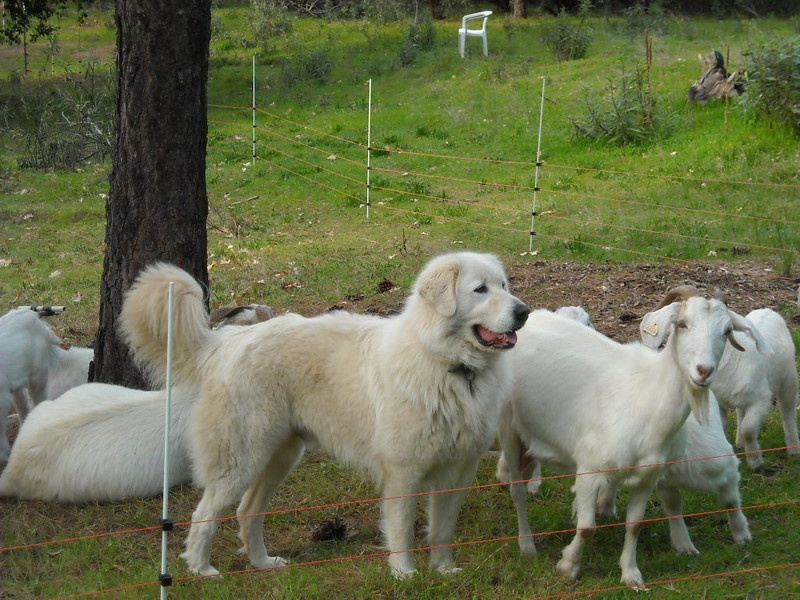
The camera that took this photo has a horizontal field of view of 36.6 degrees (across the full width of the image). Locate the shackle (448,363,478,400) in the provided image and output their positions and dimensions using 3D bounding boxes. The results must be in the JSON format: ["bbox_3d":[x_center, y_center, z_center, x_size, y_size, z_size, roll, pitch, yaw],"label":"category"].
[{"bbox_3d":[0.757,0.911,13.931,0.200,0.404,0.234,-34,7,-21],"label":"shackle"}]

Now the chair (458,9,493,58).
[{"bbox_3d":[2.180,-7.746,35.101,1.033,1.360,1.140,-4,11,-33],"label":"chair"}]
